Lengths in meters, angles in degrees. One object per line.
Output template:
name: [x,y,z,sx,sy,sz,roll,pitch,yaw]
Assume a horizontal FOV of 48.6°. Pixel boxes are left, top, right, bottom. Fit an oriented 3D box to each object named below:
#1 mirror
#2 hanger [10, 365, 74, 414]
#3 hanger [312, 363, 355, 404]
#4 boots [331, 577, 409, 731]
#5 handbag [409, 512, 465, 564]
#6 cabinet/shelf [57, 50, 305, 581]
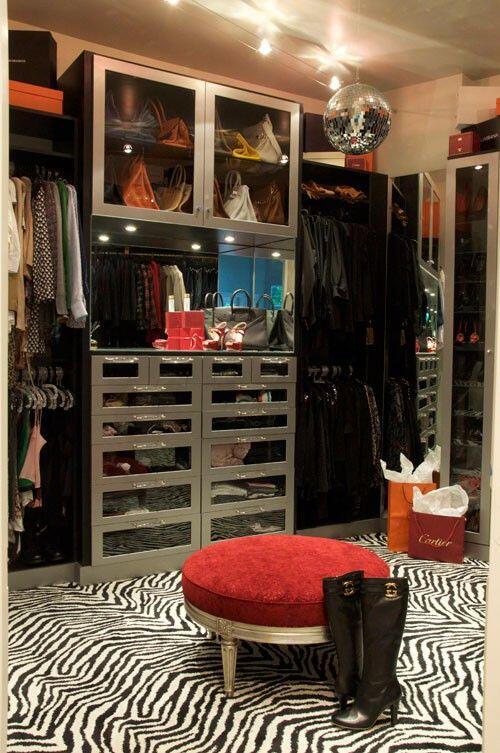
mirror: [1.105,-0.371,3.739,0.428,1.953,0.258,-1,-4,35]
hanger: [-1.039,0.076,2.754,0.207,0.123,0.298,0,4,-32]
hanger: [0.552,0.046,3.773,0.134,0.193,0.477,4,9,33]
boots: [0.335,0.827,1.683,0.255,0.448,0.223,1,-8,-17]
handbag: [1.115,0.955,3.272,0.267,0.296,0.120,3,4,26]
cabinet/shelf: [-0.366,-0.307,3.227,1.462,2.773,0.555,3,-4,-33]
